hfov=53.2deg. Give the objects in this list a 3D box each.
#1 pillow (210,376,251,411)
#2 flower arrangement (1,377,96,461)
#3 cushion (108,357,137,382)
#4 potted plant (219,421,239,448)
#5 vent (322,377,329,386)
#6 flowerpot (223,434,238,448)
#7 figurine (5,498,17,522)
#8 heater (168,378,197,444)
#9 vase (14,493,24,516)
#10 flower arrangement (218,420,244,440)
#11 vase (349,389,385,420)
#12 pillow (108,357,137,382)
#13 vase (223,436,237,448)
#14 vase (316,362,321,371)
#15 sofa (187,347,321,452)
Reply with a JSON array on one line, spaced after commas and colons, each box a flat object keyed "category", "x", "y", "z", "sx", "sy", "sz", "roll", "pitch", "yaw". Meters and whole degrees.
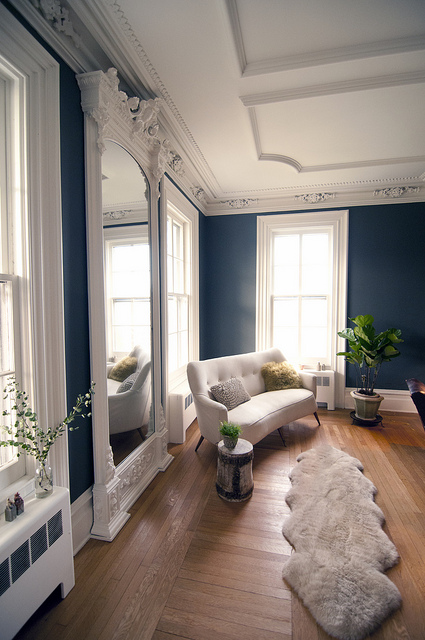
[{"category": "pillow", "x": 0.155, "y": 0.636, "z": 3.763, "sx": 0.310, "sy": 0.258, "sz": 0.266, "roll": -3, "pitch": 4, "yaw": -41}, {"category": "flower arrangement", "x": -0.776, "y": 0.478, "z": 1.935, "sx": 0.228, "sy": 0.371, "sz": 0.431, "roll": 6, "pitch": 2, "yaw": 29}, {"category": "cushion", "x": -0.563, "y": 0.317, "z": 2.669, "sx": 0.049, "sy": 0.117, "sz": 0.173, "roll": 8, "pitch": 12, "yaw": 7}, {"category": "potted plant", "x": 0.117, "y": 0.806, "z": 2.933, "sx": 0.134, "sy": 0.160, "sz": 0.103, "roll": 0, "pitch": 8, "yaw": 0}, {"category": "vent", "x": 1.335, "y": 0.725, "z": 4.978, "sx": 0.105, "sy": 0.117, "sz": 0.026, "roll": 1, "pitch": 0, "yaw": 14}, {"category": "flowerpot", "x": 0.118, "y": 0.838, "z": 2.915, "sx": 0.081, "sy": 0.072, "sz": 0.085, "roll": 0, "pitch": -2, "yaw": 23}, {"category": "figurine", "x": -0.851, "y": 0.804, "z": 1.782, "sx": 0.045, "sy": 0.089, "sz": 0.035, "roll": 1, "pitch": 8, "yaw": 11}, {"category": "heater", "x": -0.294, "y": 0.877, "z": 4.054, "sx": 0.167, "sy": 0.482, "sz": 0.540, "roll": 0, "pitch": 8, "yaw": 7}, {"category": "vase", "x": -0.830, "y": 0.789, "z": 1.824, "sx": 0.031, "sy": 0.090, "sz": 0.074, "roll": -3, "pitch": 8, "yaw": -18}, {"category": "flower arrangement", "x": 0.122, "y": 0.760, "z": 2.961, "sx": 0.123, "sy": 0.093, "sz": 0.126, "roll": 15, "pitch": -8, "yaw": -37}, {"category": "vase", "x": 1.639, "y": 0.909, "z": 4.517, "sx": 0.248, "sy": 0.203, "sz": 0.258, "roll": 0, "pitch": 3, "yaw": -9}, {"category": "pillow", "x": -0.562, "y": 0.314, "z": 2.672, "sx": 0.051, "sy": 0.119, "sz": 0.177, "roll": 10, "pitch": 10, "yaw": 7}, {"category": "vase", "x": 0.116, "y": 0.851, "z": 2.913, "sx": 0.073, "sy": 0.071, "sz": 0.081, "roll": 0, "pitch": -3, "yaw": 16}, {"category": "vase", "x": 1.280, "y": 0.574, "z": 5.107, "sx": 0.057, "sy": 0.107, "sz": 0.059, "roll": 3, "pitch": 1, "yaw": -18}, {"category": "sofa", "x": 0.442, "y": 0.734, "z": 4.023, "sx": 1.386, "sy": 0.744, "sz": 0.700, "roll": -7, "pitch": 7, "yaw": -43}]
